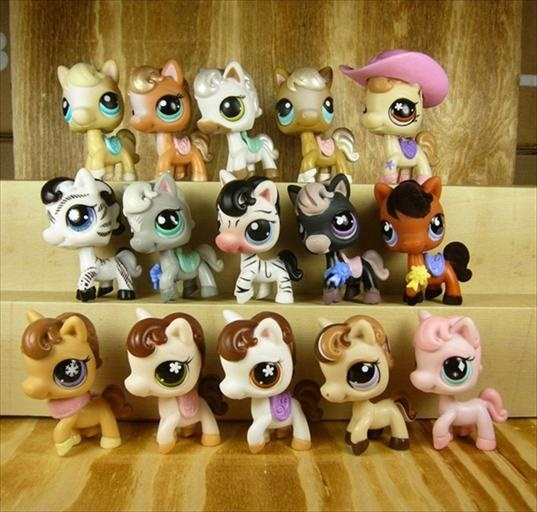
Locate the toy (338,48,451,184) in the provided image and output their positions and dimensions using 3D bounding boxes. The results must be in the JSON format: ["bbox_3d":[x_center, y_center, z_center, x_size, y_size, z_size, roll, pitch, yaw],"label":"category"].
[{"bbox_3d":[0.472,-0.516,2.551,0.450,0.645,0.460,-3,7,-32],"label":"toy"}]

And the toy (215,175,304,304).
[{"bbox_3d":[-0.029,-0.061,2.132,0.298,0.481,0.293,-1,12,-5],"label":"toy"}]

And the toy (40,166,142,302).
[{"bbox_3d":[-0.620,-0.074,2.164,0.319,0.484,0.223,-3,12,-16],"label":"toy"}]

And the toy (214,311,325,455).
[{"bbox_3d":[0.014,0.379,1.928,0.327,0.443,0.269,0,12,-3],"label":"toy"}]

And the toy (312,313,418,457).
[{"bbox_3d":[0.301,0.393,1.925,0.318,0.443,0.213,0,11,-3],"label":"toy"}]

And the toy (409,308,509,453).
[{"bbox_3d":[0.619,0.392,1.974,0.314,0.420,0.243,3,12,11],"label":"toy"}]

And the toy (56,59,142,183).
[{"bbox_3d":[-0.670,-0.541,2.424,0.293,0.467,0.235,-3,12,-15],"label":"toy"}]
